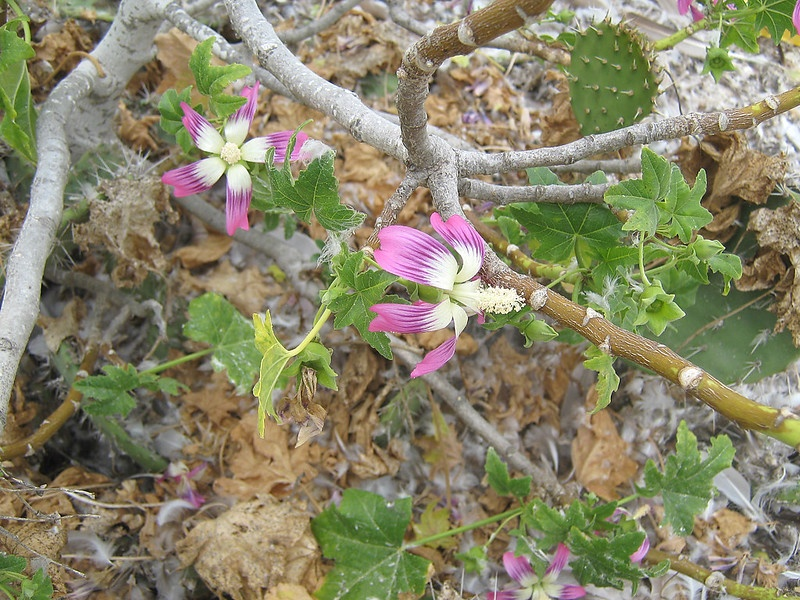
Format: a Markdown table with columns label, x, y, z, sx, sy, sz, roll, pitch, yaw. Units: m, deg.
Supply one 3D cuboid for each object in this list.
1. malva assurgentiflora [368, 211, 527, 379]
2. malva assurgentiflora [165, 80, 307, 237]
| label | x | y | z | sx | sy | sz | roll | pitch | yaw |
| --- | --- | --- | --- | --- | --- | --- | --- | --- | --- |
| malva assurgentiflora | 0.108 | -0.024 | 1.758 | 0.315 | 0.361 | 0.369 | 18 | 64 | 15 |
| malva assurgentiflora | -0.433 | -0.412 | 2.212 | 0.397 | 0.243 | 0.403 | 30 | 103 | -11 |
